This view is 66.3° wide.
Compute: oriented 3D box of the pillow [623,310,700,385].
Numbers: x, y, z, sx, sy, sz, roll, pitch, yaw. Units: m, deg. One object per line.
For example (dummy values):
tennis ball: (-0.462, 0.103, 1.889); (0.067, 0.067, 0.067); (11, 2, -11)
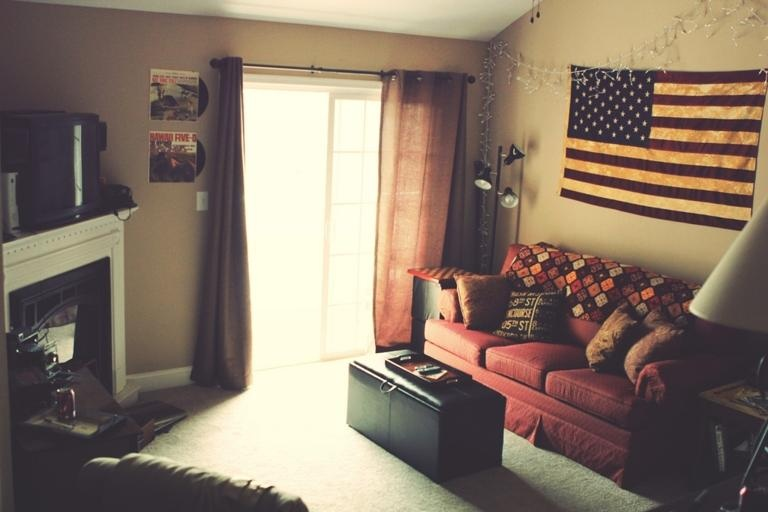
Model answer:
pillow: (1.914, 0.631, 4.158); (0.438, 0.180, 0.592); (-32, 16, 34)

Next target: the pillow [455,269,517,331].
pillow: (0.873, 0.387, 5.125); (0.459, 0.465, 0.215); (5, -15, -5)

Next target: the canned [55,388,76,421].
canned: (-2.092, 0.951, 3.862); (0.129, 0.185, 0.190); (-5, 18, -30)

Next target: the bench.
bench: (0.281, 1.184, 4.553); (0.758, 0.561, 1.180); (-2, 8, -36)

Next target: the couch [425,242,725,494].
couch: (1.481, 0.733, 4.925); (1.178, 1.210, 2.280); (-12, 16, -31)
